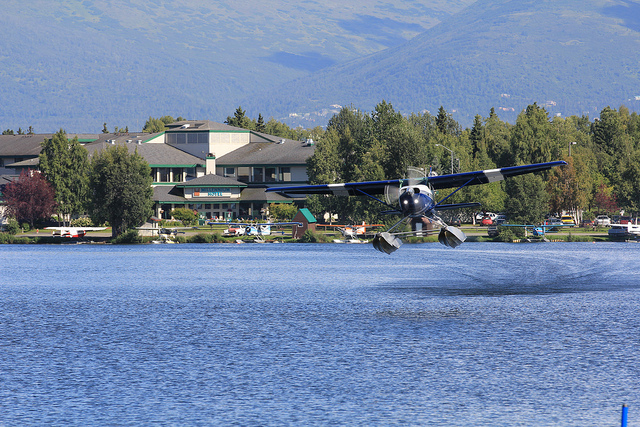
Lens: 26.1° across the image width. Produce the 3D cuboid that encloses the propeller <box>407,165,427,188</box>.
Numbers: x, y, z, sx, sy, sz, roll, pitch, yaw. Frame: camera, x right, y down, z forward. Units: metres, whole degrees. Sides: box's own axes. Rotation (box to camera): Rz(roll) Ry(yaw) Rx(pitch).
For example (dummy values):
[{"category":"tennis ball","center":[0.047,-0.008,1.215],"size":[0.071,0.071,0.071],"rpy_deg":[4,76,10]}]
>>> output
[{"category":"propeller","center":[8.204,-3.275,117.214],"size":[1.296,1.244,1.662],"rpy_deg":[0,14,2]}]

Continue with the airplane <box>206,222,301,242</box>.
[{"category":"airplane","center":[-6.996,1.668,179.167],"size":[13.922,3.418,5.998],"rpy_deg":[-1,-4,-3]}]

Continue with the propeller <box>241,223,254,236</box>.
[{"category":"propeller","center":[-8.954,1.971,174.830],"size":[0.880,0.876,2.517],"rpy_deg":[4,14,15]}]

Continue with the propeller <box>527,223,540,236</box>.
[{"category":"propeller","center":[26.822,1.761,172.743],"size":[1.704,1.408,2.831],"rpy_deg":[4,14,15]}]
